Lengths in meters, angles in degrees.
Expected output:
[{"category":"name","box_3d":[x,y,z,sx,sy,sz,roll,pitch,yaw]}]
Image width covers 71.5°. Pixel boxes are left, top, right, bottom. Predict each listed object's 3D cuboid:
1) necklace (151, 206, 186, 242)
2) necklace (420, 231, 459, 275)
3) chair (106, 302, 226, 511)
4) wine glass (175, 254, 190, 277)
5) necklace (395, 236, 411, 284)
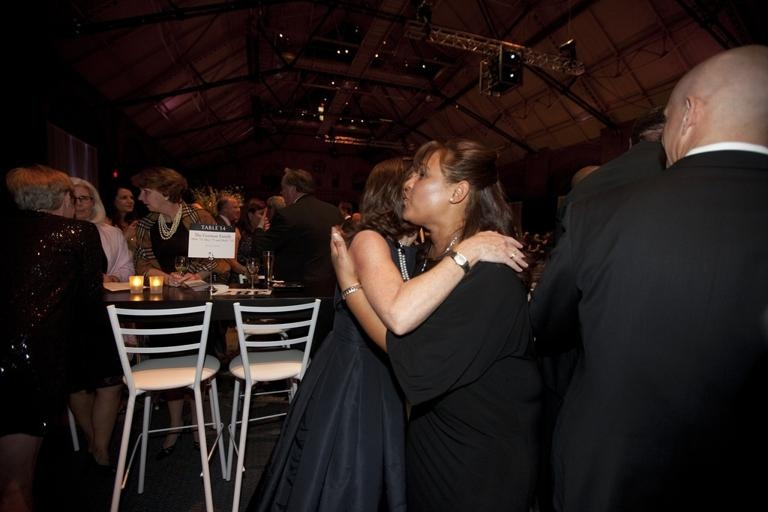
[{"category":"necklace","box_3d":[-1.796,-0.273,4.420,0.191,0.260,0.070,-7,0,8]},{"category":"necklace","box_3d":[0.277,-0.027,2.929,0.167,0.231,0.074,23,11,12]},{"category":"chair","box_3d":[-1.588,1.043,3.878,0.756,1.427,1.237,-1,-3,-26]},{"category":"wine glass","box_3d":[-1.612,0.073,4.208,0.089,0.162,0.201,-1,-3,-22]},{"category":"necklace","box_3d":[0.099,0.026,2.914,0.045,0.181,0.127,-9,-4,5]}]
